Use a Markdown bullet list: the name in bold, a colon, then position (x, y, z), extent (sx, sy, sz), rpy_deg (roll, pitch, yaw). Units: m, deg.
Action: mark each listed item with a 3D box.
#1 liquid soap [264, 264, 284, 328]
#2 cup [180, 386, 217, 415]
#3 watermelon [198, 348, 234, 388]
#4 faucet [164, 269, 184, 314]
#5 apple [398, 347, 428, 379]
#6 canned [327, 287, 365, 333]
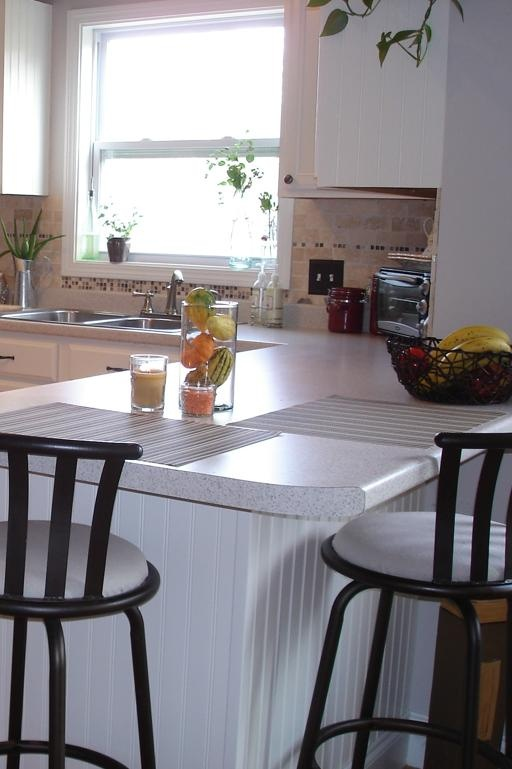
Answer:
- **liquid soap**: position (0.078, -0.395, 3.017), extent (0.081, 0.245, 0.055), rpy_deg (1, 10, -2)
- **cup**: position (-0.091, 0.026, 1.003), extent (0.048, 0.042, 0.048), rpy_deg (1, 4, 0)
- **watermelon**: position (-0.068, -0.029, 1.033), extent (0.049, 0.088, 0.048), rpy_deg (10, 4, -1)
- **faucet**: position (-0.418, -0.467, 3.267), extent (0.087, 0.225, 0.284), rpy_deg (0, 10, -7)
- **apple**: position (0.293, -0.038, 1.202), extent (0.048, 0.057, 0.051), rpy_deg (-6, -11, 28)
- **canned**: position (0.421, -0.343, 2.955), extent (0.194, 0.206, 0.191), rpy_deg (5, 8, 12)
